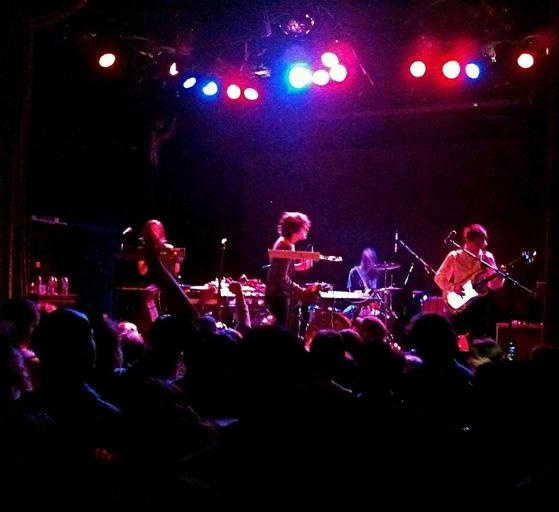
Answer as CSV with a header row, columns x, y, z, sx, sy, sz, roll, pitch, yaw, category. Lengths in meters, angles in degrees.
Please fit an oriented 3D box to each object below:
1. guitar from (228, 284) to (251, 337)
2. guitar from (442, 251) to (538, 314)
x,y,z,sx,sy,sz,roll,pitch,yaw,category
-0.357,0.471,5.649,0.162,0.155,0.595,25,-35,32,guitar
2.634,0.386,7.849,0.183,0.565,1.509,-8,-23,-35,guitar
